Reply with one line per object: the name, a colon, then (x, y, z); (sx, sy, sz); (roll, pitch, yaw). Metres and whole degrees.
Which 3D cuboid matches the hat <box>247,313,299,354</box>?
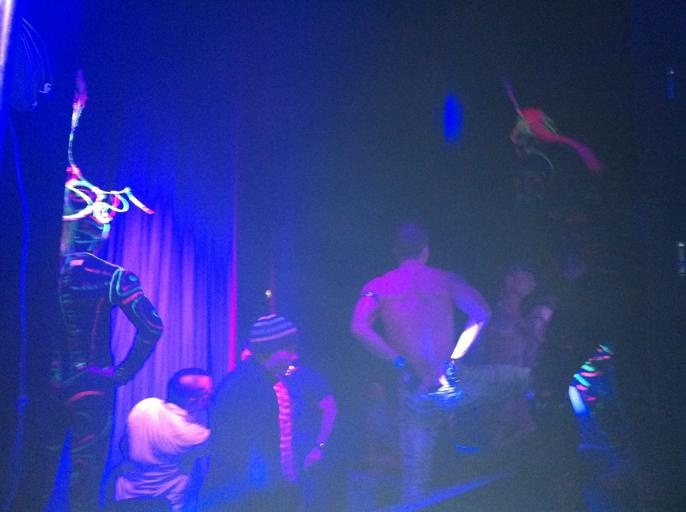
hat: (-0.446, 0.431, 4.343); (0.340, 0.105, 0.398); (-15, 15, -11)
